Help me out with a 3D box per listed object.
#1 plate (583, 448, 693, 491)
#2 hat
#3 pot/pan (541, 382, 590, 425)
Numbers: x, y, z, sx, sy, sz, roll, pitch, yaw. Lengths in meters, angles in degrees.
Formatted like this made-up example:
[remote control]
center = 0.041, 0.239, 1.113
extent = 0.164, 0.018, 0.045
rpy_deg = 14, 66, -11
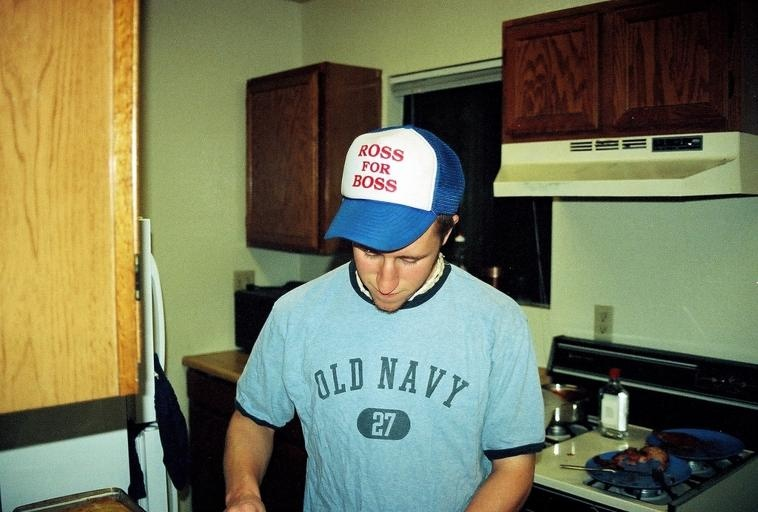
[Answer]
[plate]
center = 0.855, 0.708, 2.314
extent = 0.343, 0.051, 0.201
rpy_deg = 3, 5, 1
[hat]
center = 0.045, -0.171, 1.760
extent = 0.323, 0.316, 0.240
rpy_deg = 3, 5, 5
[pot/pan]
center = 0.721, 0.582, 2.773
extent = 0.155, 0.055, 0.150
rpy_deg = -1, -1, -41
